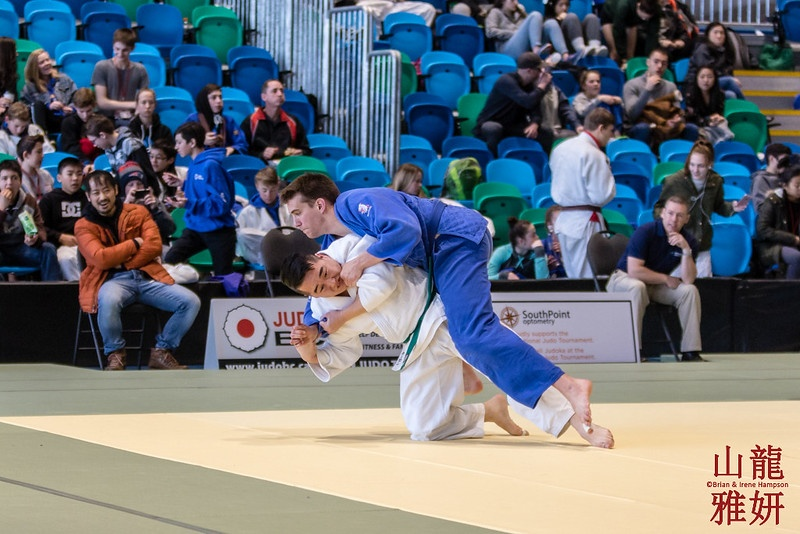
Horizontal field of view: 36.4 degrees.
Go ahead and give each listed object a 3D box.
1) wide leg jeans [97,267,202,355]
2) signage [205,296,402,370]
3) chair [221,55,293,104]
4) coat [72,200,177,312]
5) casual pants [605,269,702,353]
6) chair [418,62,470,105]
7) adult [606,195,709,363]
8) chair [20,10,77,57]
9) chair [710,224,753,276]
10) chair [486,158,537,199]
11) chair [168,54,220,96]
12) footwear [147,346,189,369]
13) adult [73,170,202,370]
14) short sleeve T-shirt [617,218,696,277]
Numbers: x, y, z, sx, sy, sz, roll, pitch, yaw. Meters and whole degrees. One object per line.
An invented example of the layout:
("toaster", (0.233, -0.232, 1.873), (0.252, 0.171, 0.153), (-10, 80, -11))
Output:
("wide leg jeans", (-2.617, 0.447, 12.131), (1.063, 0.806, 0.861), (2, 4, -36))
("signage", (-0.954, 0.586, 12.100), (1.718, 0.854, 0.529), (-1, 40, -2))
("chair", (-1.999, -2.520, 16.584), (0.663, 0.777, 0.682), (0, -1, -6))
("coat", (-2.778, -0.163, 12.172), (0.915, 0.936, 0.691), (-12, 21, -19))
("casual pants", (2.661, 0.463, 12.842), (0.947, 1.196, 0.790), (-2, -2, 25))
("chair", (0.609, -2.623, 17.326), (0.552, 0.626, 0.669), (1, 12, 1))
("adult", (2.647, 0.102, 12.520), (0.987, 1.638, 1.080), (5, 6, 8))
("chair", (-4.748, -3.182, 16.630), (0.612, 0.752, 0.636), (-2, 6, -20))
("chair", (3.867, -0.220, 14.360), (0.465, 0.615, 0.236), (-2, 1, 11))
("chair", (1.416, -1.074, 15.624), (0.664, 0.617, 0.551), (3, -4, 19))
("chair", (-2.739, -2.631, 16.435), (0.655, 0.783, 0.666), (0, -1, -15))
("footwear", (-2.332, 0.915, 12.148), (0.466, 0.229, 0.162), (1, -2, -10))
("adult", (-2.626, 0.015, 12.121), (1.170, 1.906, 1.183), (-3, 10, -20))
("short sleeve T-shirt", (2.711, -0.213, 12.548), (0.716, 0.553, 0.442), (12, 28, 4))
